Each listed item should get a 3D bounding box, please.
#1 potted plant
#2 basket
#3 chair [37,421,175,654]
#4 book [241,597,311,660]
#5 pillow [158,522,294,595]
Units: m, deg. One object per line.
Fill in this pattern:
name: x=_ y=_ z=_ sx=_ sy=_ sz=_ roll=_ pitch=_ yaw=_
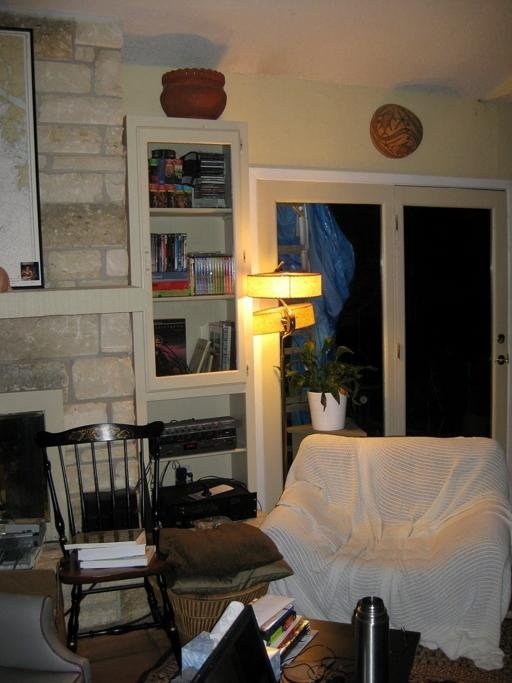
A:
potted plant: x=0.382 y=0.262 z=3.290 sx=0.332 sy=0.382 sz=0.383 roll=-12 pitch=-3 yaw=-19
basket: x=-0.215 y=0.977 z=2.090 sx=0.230 sy=0.132 sz=0.219 roll=19 pitch=-25 yaw=-18
chair: x=-0.510 y=0.696 z=2.074 sx=0.423 sy=0.708 sz=0.332 roll=-4 pitch=10 yaw=-5
book: x=0.052 y=0.742 z=1.606 sx=0.168 sy=0.077 sz=0.220 roll=-12 pitch=2 yaw=-20
pillow: x=-0.112 y=0.764 z=2.086 sx=0.447 sy=0.152 sz=0.265 roll=-4 pitch=3 yaw=-10
